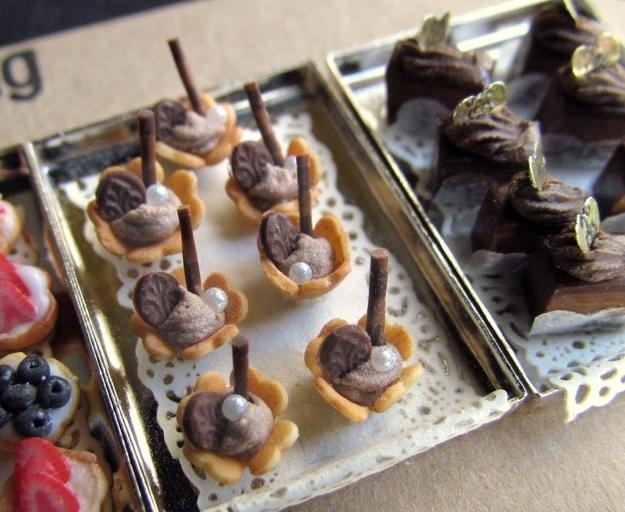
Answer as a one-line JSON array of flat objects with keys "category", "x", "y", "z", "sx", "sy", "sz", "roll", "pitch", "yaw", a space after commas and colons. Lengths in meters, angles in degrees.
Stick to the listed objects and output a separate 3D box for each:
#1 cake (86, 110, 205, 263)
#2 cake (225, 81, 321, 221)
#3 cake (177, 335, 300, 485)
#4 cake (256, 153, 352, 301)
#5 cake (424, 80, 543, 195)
[{"category": "cake", "x": -0.458, "y": -0.186, "z": 2.034, "sx": 0.215, "sy": 0.295, "sz": 0.238, "roll": 33, "pitch": 47, "yaw": 2}, {"category": "cake", "x": -0.121, "y": -0.296, "z": 2.129, "sx": 0.231, "sy": 0.346, "sz": 0.229, "roll": -22, "pitch": 46, "yaw": -25}, {"category": "cake", "x": -0.189, "y": 0.388, "z": 1.777, "sx": 0.192, "sy": 0.222, "sz": 0.195, "roll": 31, "pitch": 58, "yaw": 9}, {"category": "cake", "x": -0.034, "y": -0.068, "z": 1.996, "sx": 0.206, "sy": 0.327, "sz": 0.219, "roll": -25, "pitch": 51, "yaw": -28}, {"category": "cake", "x": 0.466, "y": -0.325, "z": 2.054, "sx": 0.318, "sy": 0.358, "sz": 0.238, "roll": 0, "pitch": 62, "yaw": 7}]
